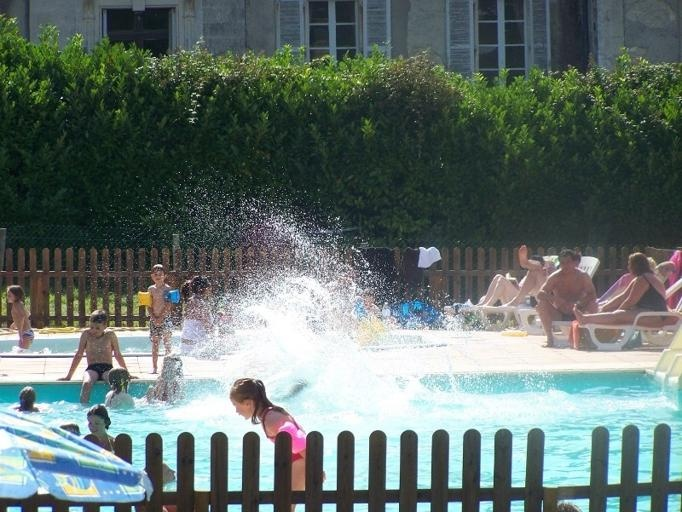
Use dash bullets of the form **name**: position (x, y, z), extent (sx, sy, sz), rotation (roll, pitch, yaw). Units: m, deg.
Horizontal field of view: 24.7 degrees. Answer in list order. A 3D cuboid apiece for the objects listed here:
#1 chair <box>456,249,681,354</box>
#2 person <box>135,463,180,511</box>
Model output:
- **chair**: position (5.016, 0.803, 31.703), extent (3.904, 1.889, 2.090), rotation (2, 4, 26)
- **person**: position (-2.800, 3.776, 25.419), extent (0.573, 0.825, 0.265), rotation (8, -8, -26)
